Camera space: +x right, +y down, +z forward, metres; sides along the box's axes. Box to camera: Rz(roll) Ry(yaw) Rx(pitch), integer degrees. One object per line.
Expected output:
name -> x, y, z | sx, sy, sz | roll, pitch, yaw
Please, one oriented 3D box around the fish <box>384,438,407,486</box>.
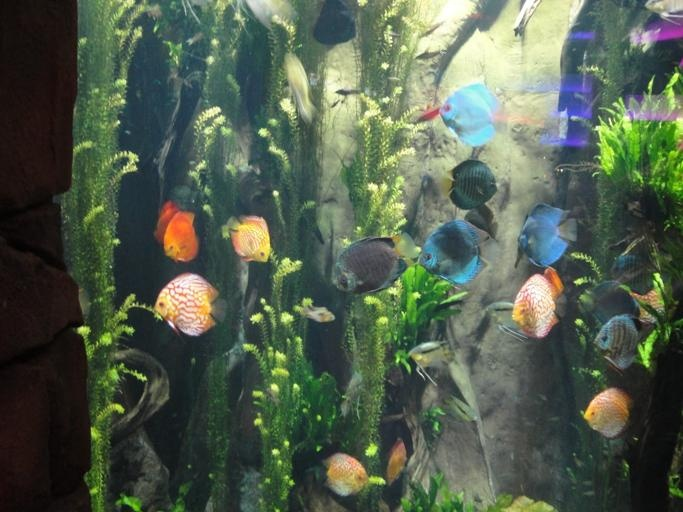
fish -> 0.326, 1.216, 4.274 | 0.137, 0.254, 0.040 | -8, 12, -21
